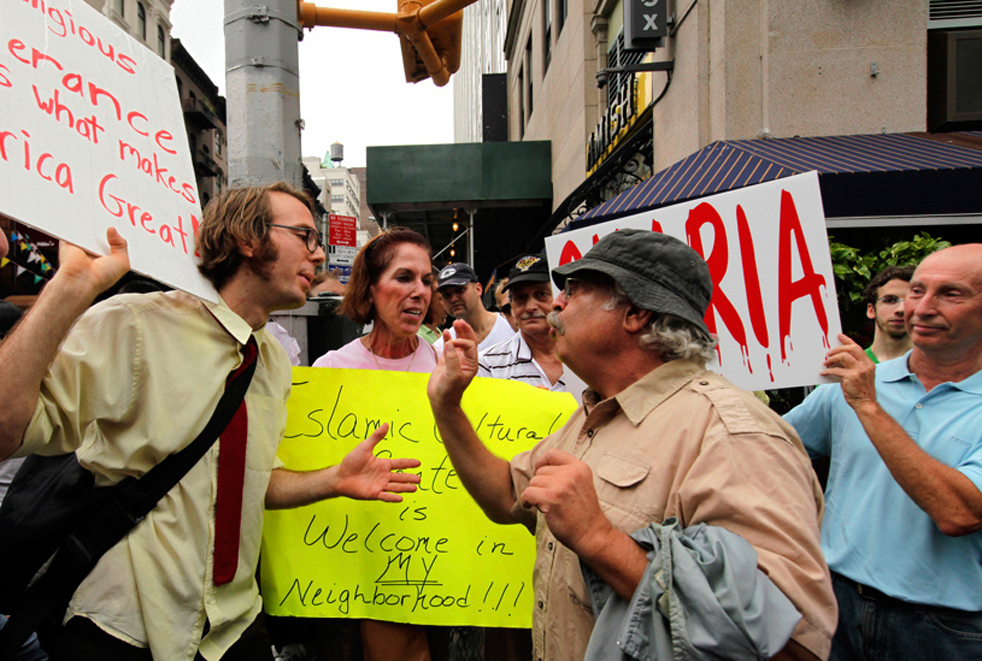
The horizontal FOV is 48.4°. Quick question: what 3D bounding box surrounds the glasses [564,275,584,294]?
[{"bbox_3d":[0.428,-0.233,5.568,0.063,0.037,0.091,-14,-26,22],"label":"glasses"}]
